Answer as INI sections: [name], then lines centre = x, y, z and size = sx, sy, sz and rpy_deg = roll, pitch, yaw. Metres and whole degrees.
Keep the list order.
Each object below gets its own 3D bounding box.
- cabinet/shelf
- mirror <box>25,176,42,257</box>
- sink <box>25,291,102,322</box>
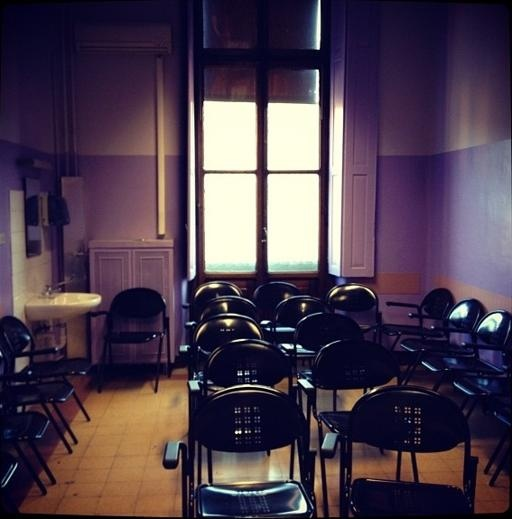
[cabinet/shelf]
centre = -1.385, 0.443, 5.648
size = 1.061, 1.942, 0.598
rpy_deg = -1, -1, -6
[mirror]
centre = -2.126, -0.401, 4.976
size = 0.128, 0.767, 0.397
rpy_deg = -2, 5, -16
[sink]
centre = -1.883, 0.451, 4.864
size = 0.323, 0.148, 0.401
rpy_deg = 0, 7, -4
